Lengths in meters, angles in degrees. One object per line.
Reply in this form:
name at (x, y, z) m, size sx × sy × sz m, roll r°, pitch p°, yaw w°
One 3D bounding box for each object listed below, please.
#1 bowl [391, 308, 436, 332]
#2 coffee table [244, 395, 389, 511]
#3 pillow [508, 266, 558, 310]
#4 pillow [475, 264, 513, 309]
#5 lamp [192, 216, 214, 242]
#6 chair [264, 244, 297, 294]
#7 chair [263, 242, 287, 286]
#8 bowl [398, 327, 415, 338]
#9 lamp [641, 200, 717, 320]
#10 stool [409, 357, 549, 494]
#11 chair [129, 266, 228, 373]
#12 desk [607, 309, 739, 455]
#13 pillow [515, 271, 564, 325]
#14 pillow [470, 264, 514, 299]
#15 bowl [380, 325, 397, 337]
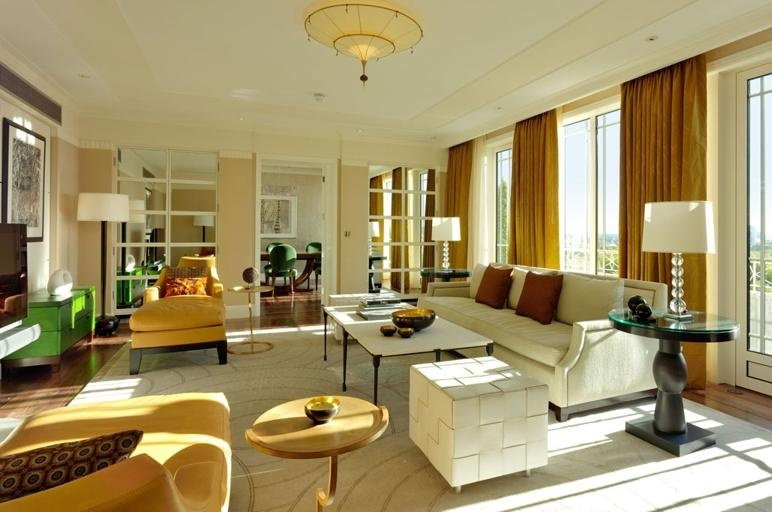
bowl at (0.232, 0.584, 4.635) m, size 0.260 × 0.108 × 0.254 m, roll 0°, pitch -2°, yaw 0°
coffee table at (-0.422, 1.034, 3.063) m, size 0.844 × 0.236 × 0.468 m, roll 0°, pitch 1°, yaw -8°
pillow at (1.592, 0.360, 5.338) m, size 0.175 × 0.339 × 0.459 m, roll 10°, pitch -4°, yaw -32°
pillow at (1.298, 0.359, 5.944) m, size 0.296 × 0.453 × 0.550 m, roll -5°, pitch 5°, yaw -18°
lamp at (-2.696, -0.396, 7.243) m, size 0.356 × 0.396 × 0.179 m, roll 0°, pitch 1°, yaw 35°
chair at (-1.992, 0.220, 9.314) m, size 0.604 × 0.870 × 0.694 m, roll 1°, pitch 4°, yaw -12°
chair at (-1.972, 0.254, 9.234) m, size 0.513 × 0.816 × 0.539 m, roll 4°, pitch -2°, yaw -19°
bowl at (0.179, 0.686, 4.431) m, size 0.109 × 0.057 × 0.104 m, roll 0°, pitch 1°, yaw 0°
lamp at (2.471, 0.015, 4.122) m, size 0.502 × 0.996 × 0.474 m, roll -1°, pitch 1°, yaw -40°
stool at (0.664, 1.170, 3.759) m, size 0.902 × 0.645 × 0.863 m, roll -1°, pitch 0°, yaw -19°
chair at (-2.405, 0.603, 5.965) m, size 0.999 × 1.033 × 1.709 m, roll -1°, pitch 1°, yaw -16°
desk at (2.400, 0.939, 4.227) m, size 1.057 × 1.137 × 1.156 m, roll -1°, pitch 2°, yaw -30°
pillow at (1.627, 0.431, 5.265) m, size 0.304 × 0.466 × 0.558 m, roll -6°, pitch 6°, yaw -18°
pillow at (1.290, 0.311, 5.929) m, size 0.156 × 0.286 × 0.438 m, roll 31°, pitch -13°, yaw -18°
bowl at (0.029, 0.682, 4.526) m, size 0.102 × 0.048 × 0.097 m, roll -2°, pitch 6°, yaw 0°
